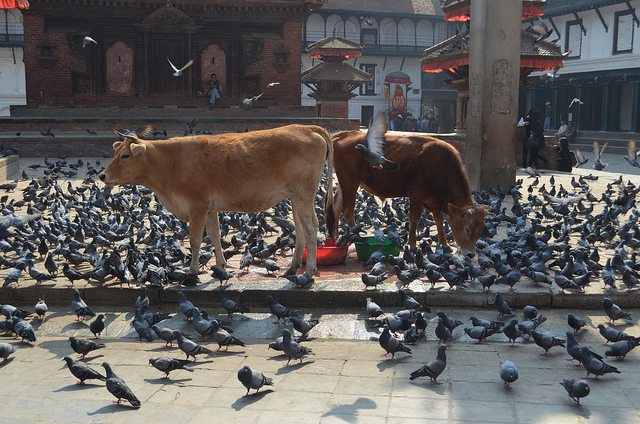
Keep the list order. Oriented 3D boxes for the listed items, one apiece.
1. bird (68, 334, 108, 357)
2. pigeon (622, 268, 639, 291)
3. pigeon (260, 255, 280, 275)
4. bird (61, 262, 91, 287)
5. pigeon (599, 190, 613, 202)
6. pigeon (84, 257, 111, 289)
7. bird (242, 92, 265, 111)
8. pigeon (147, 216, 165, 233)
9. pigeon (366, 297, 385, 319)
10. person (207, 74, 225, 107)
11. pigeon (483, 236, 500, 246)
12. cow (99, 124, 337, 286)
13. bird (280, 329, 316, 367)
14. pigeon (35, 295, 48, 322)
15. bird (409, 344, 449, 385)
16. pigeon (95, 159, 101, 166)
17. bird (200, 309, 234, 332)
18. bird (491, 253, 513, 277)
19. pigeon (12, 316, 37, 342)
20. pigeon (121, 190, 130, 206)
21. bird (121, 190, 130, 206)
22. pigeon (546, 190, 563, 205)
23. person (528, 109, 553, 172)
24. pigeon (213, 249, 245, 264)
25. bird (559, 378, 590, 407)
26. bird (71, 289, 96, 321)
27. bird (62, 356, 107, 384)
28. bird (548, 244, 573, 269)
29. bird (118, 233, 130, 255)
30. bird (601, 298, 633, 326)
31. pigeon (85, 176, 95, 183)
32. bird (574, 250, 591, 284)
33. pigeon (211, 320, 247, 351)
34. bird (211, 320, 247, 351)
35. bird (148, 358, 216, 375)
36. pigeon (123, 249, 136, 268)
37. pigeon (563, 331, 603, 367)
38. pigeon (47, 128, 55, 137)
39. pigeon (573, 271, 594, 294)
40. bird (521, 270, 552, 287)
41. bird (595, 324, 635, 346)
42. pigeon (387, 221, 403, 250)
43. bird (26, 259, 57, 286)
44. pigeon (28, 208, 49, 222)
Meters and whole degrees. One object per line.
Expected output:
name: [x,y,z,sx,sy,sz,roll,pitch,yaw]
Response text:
bird: [-4.677,2.645,17.931,0.707,0.415,0.782,-4,9,-17]
pigeon: [6.614,1.439,18.890,0.398,0.450,0.179,-4,9,-16]
pigeon: [-1.090,1.199,19.861,0.478,0.325,0.233,17,18,18]
bird: [-5.287,1.362,19.455,0.731,0.463,0.459,-1,9,4]
pigeon: [8.172,-0.418,25.380,0.172,0.328,0.253,19,17,0]
pigeon: [-4.757,1.333,19.326,0.504,0.647,0.318,-3,9,-14]
bird: [-3.107,-4.700,38.858,0.881,0.449,0.849,-14,5,33]
pigeon: [-4.069,0.311,22.186,0.204,0.368,0.647,-13,-20,15]
pigeon: [1.155,2.029,18.501,0.343,0.408,0.437,-1,9,1]
person: [-4.607,-5.342,39.226,0.570,1.347,1.054,-1,9,1]
pigeon: [3.979,0.680,20.687,0.365,0.186,0.119,13,22,-17]
cow: [-2.236,-0.181,19.850,5.234,3.314,1.361,-1,2,3]
bird: [-0.436,2.661,17.527,0.562,0.716,0.292,-1,8,-2]
pigeon: [-5.795,2.046,18.615,0.145,0.238,0.554,6,20,-19]
bird: [2.149,2.930,17.057,0.883,0.685,0.398,-2,6,-11]
pigeon: [-7.361,-1.608,29.583,0.231,0.212,0.230,2,4,-5]
bird: [-2.179,2.215,18.046,0.866,0.541,0.306,5,-2,-10]
bird: [3.929,1.174,19.161,0.285,0.438,0.489,-8,11,-37]
pigeon: [-5.993,2.400,18.121,0.640,0.439,0.306,14,16,16]
pigeon: [-5.345,-0.354,24.618,0.087,0.213,0.393,-23,57,-19]
bird: [-5.345,-0.354,24.618,0.089,0.216,0.398,-21,57,-23]
pigeon: [6.547,-0.372,24.814,0.190,0.347,0.562,10,-26,-33]
person: [7.794,-2.534,31.585,0.629,2.117,1.390,3,10,29]
pigeon: [-2.095,1.034,20.647,0.652,0.410,0.217,-15,3,-26]
bird: [4.782,3.323,16.606,0.267,0.507,0.671,-1,21,-16]
bird: [-4.941,1.974,18.634,0.434,0.666,0.636,-8,11,-40]
bird: [-4.468,3.075,17.194,0.885,0.518,0.282,3,11,2]
bird: [5.360,0.994,19.680,0.807,0.457,0.247,-20,22,-28]
bird: [-4.520,0.789,20.980,0.203,0.361,0.552,0,32,12]
bird: [6.068,2.052,18.196,0.841,0.548,0.288,5,2,-23]
pigeon: [-6.909,-0.944,26.881,0.191,0.250,0.113,2,3,24]
bird: [5.562,1.174,19.003,0.235,0.714,0.462,-12,40,42]
pigeon: [-1.828,2.434,17.735,0.658,0.496,0.195,1,9,15]
bird: [-1.836,2.513,17.820,0.842,0.572,0.297,7,11,-1]
bird: [-2.755,2.986,17.382,1.064,0.367,0.358,-3,9,-10]
pigeon: [-4.196,1.044,19.826,0.267,0.308,0.280,11,-20,22]
pigeon: [5.114,2.700,17.317,0.791,0.598,0.391,7,7,2]
pigeon: [-10.207,-2.999,33.929,0.147,0.461,0.244,-23,-20,-22]
pigeon: [5.540,1.509,18.796,0.471,0.454,0.265,-2,9,-5]
bird: [4.503,1.437,18.924,0.849,0.362,0.259,-1,7,0]
bird: [5.711,2.418,17.454,0.833,0.454,0.272,-5,1,5]
pigeon: [1.844,0.563,20.526,0.226,0.407,0.666,-1,22,-11]
bird: [-6.085,1.331,19.438,0.723,0.507,0.399,2,9,17]
pigeon: [-7.192,0.065,22.975,0.468,0.317,0.522,7,0,-33]
